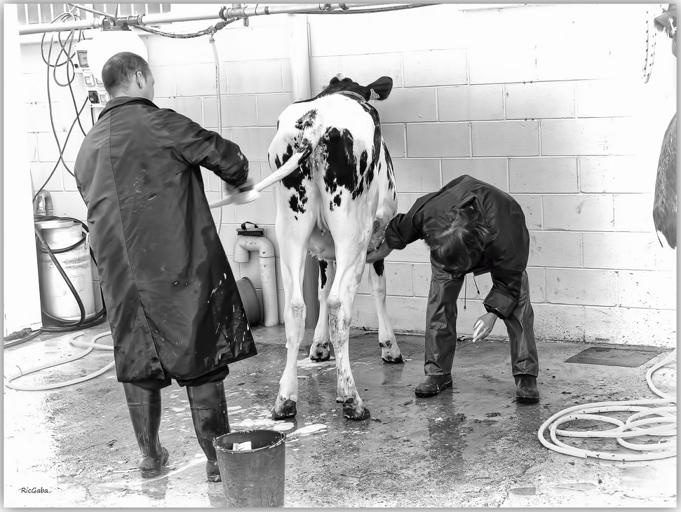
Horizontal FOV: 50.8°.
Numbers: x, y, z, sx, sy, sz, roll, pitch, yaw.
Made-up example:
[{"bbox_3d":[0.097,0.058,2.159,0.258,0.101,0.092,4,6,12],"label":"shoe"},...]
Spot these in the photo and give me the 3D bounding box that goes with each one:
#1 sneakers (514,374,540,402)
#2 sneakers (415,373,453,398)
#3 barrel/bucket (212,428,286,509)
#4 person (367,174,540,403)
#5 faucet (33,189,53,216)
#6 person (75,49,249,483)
[{"bbox_3d":[1.353,0.960,5.183,0.092,0.208,0.287,-2,-17,6],"label":"sneakers"},{"bbox_3d":[0.721,0.982,5.490,0.124,0.179,0.323,-9,-5,44],"label":"sneakers"},{"bbox_3d":[-0.510,1.107,3.969,0.354,0.468,0.396,-1,-3,-10],"label":"barrel/bucket"},{"bbox_3d":[0.944,0.017,5.578,0.832,1.026,1.783,0,13,4],"label":"person"},{"bbox_3d":[-3.382,-0.627,8.141,0.205,0.305,0.145,-8,12,-27],"label":"faucet"},{"bbox_3d":[-1.020,0.210,4.227,0.983,2.289,0.422,1,10,15],"label":"person"}]
